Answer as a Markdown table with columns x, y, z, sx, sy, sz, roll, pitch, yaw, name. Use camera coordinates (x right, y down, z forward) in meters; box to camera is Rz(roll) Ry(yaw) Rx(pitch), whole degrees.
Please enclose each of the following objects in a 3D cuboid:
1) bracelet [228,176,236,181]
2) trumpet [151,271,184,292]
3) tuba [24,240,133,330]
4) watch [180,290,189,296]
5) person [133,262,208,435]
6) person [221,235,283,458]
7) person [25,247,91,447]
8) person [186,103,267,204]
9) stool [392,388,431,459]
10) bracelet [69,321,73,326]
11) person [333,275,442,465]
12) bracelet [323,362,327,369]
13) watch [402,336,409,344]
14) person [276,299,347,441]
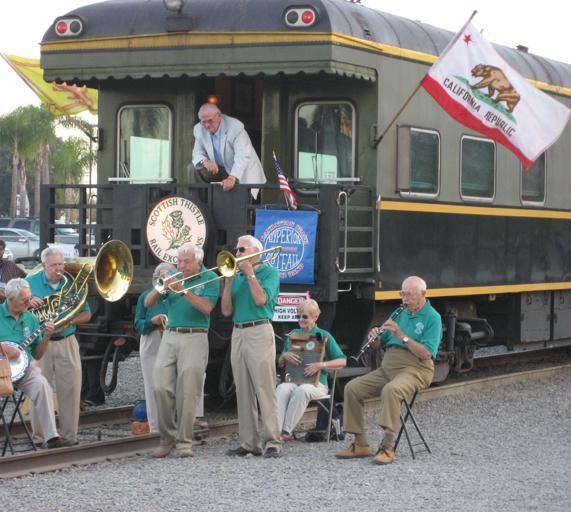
| x | y | z | sx | sy | sz | roll | pitch | yaw | name |
| --- | --- | --- | --- | --- | --- | --- | --- | --- | --- |
| -0.511 | -0.765 | 8.287 | 0.077 | 0.055 | 0.147 | 1 | 1 | -3 | bracelet |
| -0.958 | 0.235 | 7.034 | 0.131 | 0.184 | 0.354 | 16 | 2 | 11 | trumpet |
| -1.796 | 0.249 | 7.465 | 0.607 | 0.956 | 0.719 | 3 | 5 | 23 | tuba |
| -0.830 | 0.302 | 6.996 | 0.050 | 0.018 | 0.054 | -12 | -20 | 41 | watch |
| -1.085 | 0.772 | 7.935 | 0.577 | 1.735 | 0.684 | 3 | 7 | -11 | person |
| -0.303 | 0.739 | 7.110 | 0.437 | 1.871 | 0.512 | 10 | -18 | -43 | person |
| -1.971 | 0.801 | 7.343 | 0.514 | 1.668 | 0.552 | 12 | 11 | 35 | person |
| -0.561 | -1.071 | 8.577 | 0.776 | 0.956 | 0.782 | 1 | 1 | -4 | person |
| 1.129 | 1.537 | 7.517 | 0.377 | 0.668 | 0.343 | -1 | 4 | -28 | stool |
| -1.869 | 0.585 | 7.331 | 0.036 | 0.047 | 0.038 | -1 | -7 | -12 | bracelet |
| 0.959 | 0.965 | 7.373 | 0.750 | 1.723 | 0.927 | 7 | 5 | 18 | person |
| 0.375 | 0.971 | 7.487 | 0.030 | 0.069 | 0.063 | 0 | -3 | 2 | bracelet |
| 1.051 | 0.716 | 7.186 | 0.040 | 0.069 | 0.068 | 23 | 41 | 21 | watch |
| 0.167 | 1.043 | 7.580 | 0.553 | 1.308 | 0.611 | 0 | -7 | 35 | person |
